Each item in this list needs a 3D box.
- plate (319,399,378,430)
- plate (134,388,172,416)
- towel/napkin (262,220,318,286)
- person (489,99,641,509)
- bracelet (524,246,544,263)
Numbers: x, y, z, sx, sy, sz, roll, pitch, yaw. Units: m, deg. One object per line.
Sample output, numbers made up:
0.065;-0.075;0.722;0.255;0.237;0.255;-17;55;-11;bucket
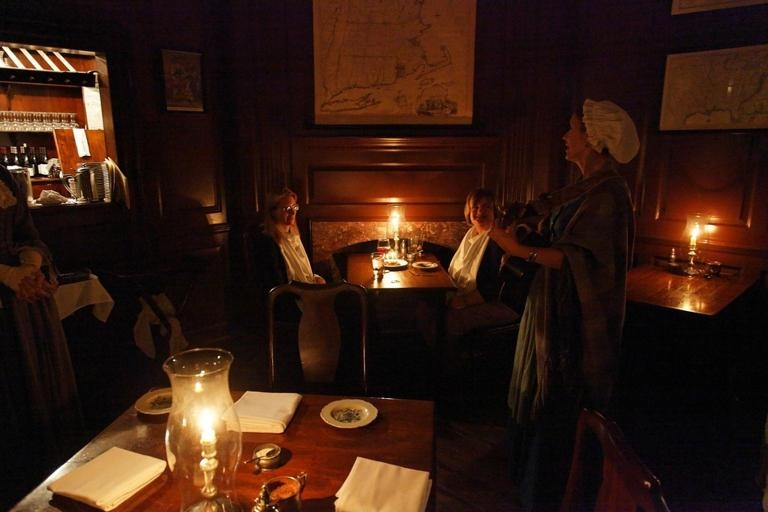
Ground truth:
-0.175;0.798;2.876;0.278;0.070;0.188;-4;14;-7;plate
-1.169;0.743;2.899;0.184;0.072;0.213;-7;15;-20;plate
-0.783;-0.001;4.644;0.429;0.517;0.207;-3;-18;-47;towel/napkin
1.041;0.323;3.434;0.698;2.428;0.760;8;18;35;person
0.874;-0.001;3.335;0.041;0.073;0.102;-3;-1;-20;bracelet
